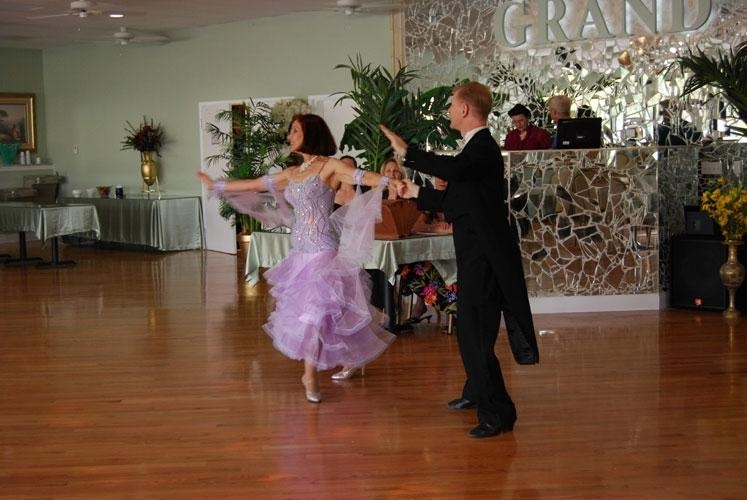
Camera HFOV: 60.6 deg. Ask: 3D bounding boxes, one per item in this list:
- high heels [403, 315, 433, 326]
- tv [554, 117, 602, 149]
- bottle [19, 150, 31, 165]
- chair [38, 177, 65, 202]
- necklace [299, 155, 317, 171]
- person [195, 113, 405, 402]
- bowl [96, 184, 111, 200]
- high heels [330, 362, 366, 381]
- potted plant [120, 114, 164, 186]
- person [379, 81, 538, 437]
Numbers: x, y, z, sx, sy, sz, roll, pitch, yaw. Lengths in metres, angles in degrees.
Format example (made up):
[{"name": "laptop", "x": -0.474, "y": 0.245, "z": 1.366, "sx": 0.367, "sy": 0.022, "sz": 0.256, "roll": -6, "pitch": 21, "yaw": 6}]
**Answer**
[{"name": "high heels", "x": 0.485, "y": 0.763, "z": 6.933, "sx": 0.321, "sy": 0.084, "sz": 0.112, "roll": 4, "pitch": -5, "yaw": -23}, {"name": "tv", "x": 2.346, "y": -1.336, "z": 7.305, "sx": 0.504, "sy": 0.359, "sz": 0.356, "roll": 1, "pitch": 6, "yaw": 5}, {"name": "bottle", "x": -7.056, "y": -1.873, "z": 13.019, "sx": 0.252, "sy": 0.291, "sz": 0.213, "roll": -10, "pitch": 14, "yaw": -38}, {"name": "chair", "x": -6.452, "y": -1.215, "z": 12.820, "sx": 0.484, "sy": 0.574, "sz": 0.446, "roll": -5, "pitch": -11, "yaw": 26}, {"name": "necklace", "x": -0.503, "y": -0.672, "z": 4.982, "sx": 0.135, "sy": 0.032, "sz": 0.083, "roll": -38, "pitch": 23, "yaw": 12}, {"name": "person", "x": -0.464, "y": 0.048, "z": 5.065, "sx": 1.245, "sy": 2.193, "sz": 0.680, "roll": 0, "pitch": 11, "yaw": 7}, {"name": "bowl", "x": -5.103, "y": -1.090, "z": 12.174, "sx": 0.298, "sy": 0.215, "sz": 0.287, "roll": 1, "pitch": -4, "yaw": 0}, {"name": "high heels", "x": -0.217, "y": 1.045, "z": 5.512, "sx": 0.362, "sy": 0.169, "sz": 0.123, "roll": 1, "pitch": 1, "yaw": -4}, {"name": "potted plant", "x": -4.289, "y": -1.845, "z": 12.175, "sx": 0.611, "sy": 1.254, "sz": 0.856, "roll": 0, "pitch": 7, "yaw": 41}, {"name": "person", "x": 0.692, "y": 0.071, "z": 4.407, "sx": 0.889, "sy": 2.387, "sz": 0.461, "roll": 2, "pitch": 11, "yaw": 14}]
